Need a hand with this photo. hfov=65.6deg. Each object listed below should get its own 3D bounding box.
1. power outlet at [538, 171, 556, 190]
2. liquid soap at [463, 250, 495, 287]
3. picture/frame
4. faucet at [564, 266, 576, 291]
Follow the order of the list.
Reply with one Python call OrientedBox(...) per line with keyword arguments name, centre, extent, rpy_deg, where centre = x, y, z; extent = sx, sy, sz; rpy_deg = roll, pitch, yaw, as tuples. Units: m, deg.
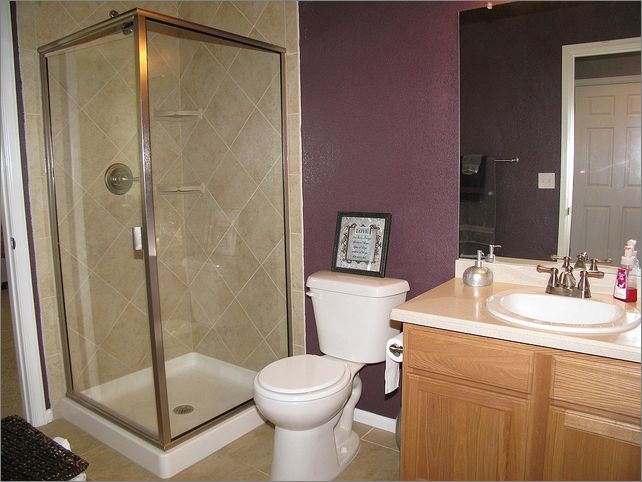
OrientedBox(name="power outlet", centre=(1.062, -0.288, 2.337), extent=(0.079, 0.083, 0.008), rpy_deg=(3, 8, 31))
OrientedBox(name="liquid soap", centre=(0.770, 0.140, 2.426), extent=(0.126, 0.156, 0.132), rpy_deg=(3, 4, 27))
OrientedBox(name="picture/frame", centre=(0.244, 0.024, 2.810), extent=(0.320, 0.353, 0.024), rpy_deg=(7, -2, 34))
OrientedBox(name="faucet", centre=(1.107, 0.161, 2.213), extent=(0.048, 0.097, 0.047), rpy_deg=(2, 6, 18))
